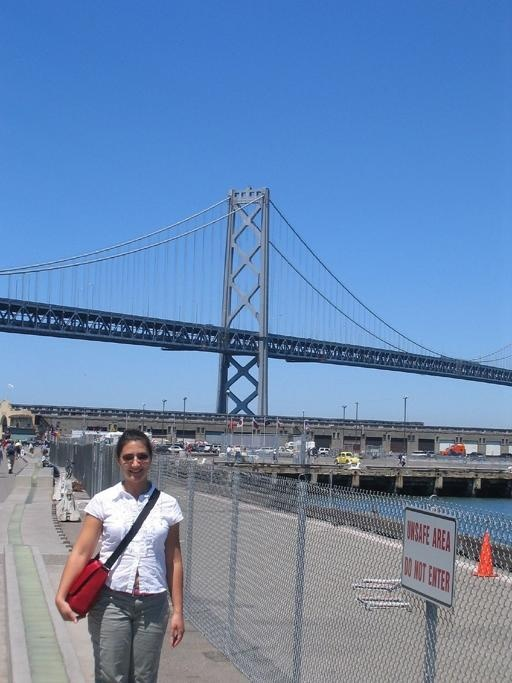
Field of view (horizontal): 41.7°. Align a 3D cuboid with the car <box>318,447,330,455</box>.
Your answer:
[{"bbox_3d":[8.140,13.177,80.545,1.146,1.073,2.068,0,-8,1],"label":"car"}]
